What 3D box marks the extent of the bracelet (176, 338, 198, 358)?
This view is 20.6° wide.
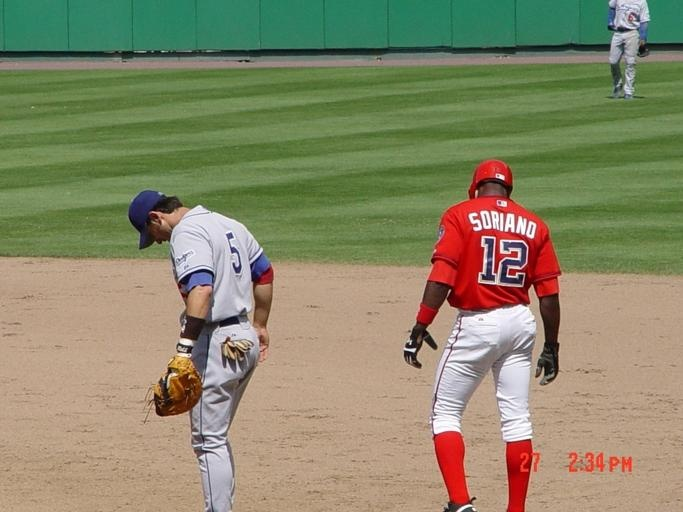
[{"bbox_3d":[-2.493,1.460,29.806,0.253,0.300,0.334,5,0,44],"label":"bracelet"}]

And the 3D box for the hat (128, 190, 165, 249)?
[{"bbox_3d":[-3.256,-0.658,30.182,0.552,0.899,0.625,25,14,-16],"label":"hat"}]

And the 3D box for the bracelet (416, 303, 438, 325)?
[{"bbox_3d":[1.349,0.954,30.208,0.351,0.264,0.300,17,1,13],"label":"bracelet"}]
